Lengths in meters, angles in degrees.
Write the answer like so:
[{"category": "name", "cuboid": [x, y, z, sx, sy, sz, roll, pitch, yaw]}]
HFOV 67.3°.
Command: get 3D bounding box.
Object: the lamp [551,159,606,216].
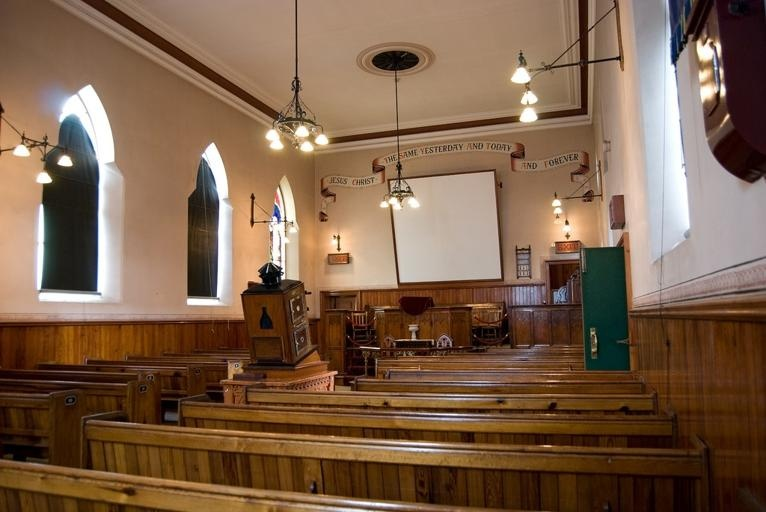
[{"category": "lamp", "cuboid": [4.912, -1.643, 14.540, 1.119, 1.548, 1.556, 0, 10, 15]}]
